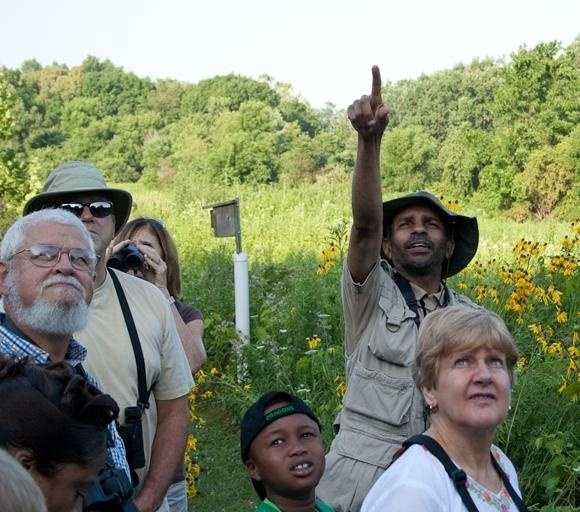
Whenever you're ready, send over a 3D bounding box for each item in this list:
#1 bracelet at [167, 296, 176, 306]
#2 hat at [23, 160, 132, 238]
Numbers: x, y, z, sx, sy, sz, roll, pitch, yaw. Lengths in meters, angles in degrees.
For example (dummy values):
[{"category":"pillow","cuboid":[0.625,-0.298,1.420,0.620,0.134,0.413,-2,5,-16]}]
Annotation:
[{"category":"bracelet","cuboid":[-0.763,0.287,3.830,0.058,0.060,0.064,-7,9,-6]},{"category":"hat","cuboid":[-1.133,-0.378,3.164,0.498,0.267,0.437,-7,-8,-12]}]
